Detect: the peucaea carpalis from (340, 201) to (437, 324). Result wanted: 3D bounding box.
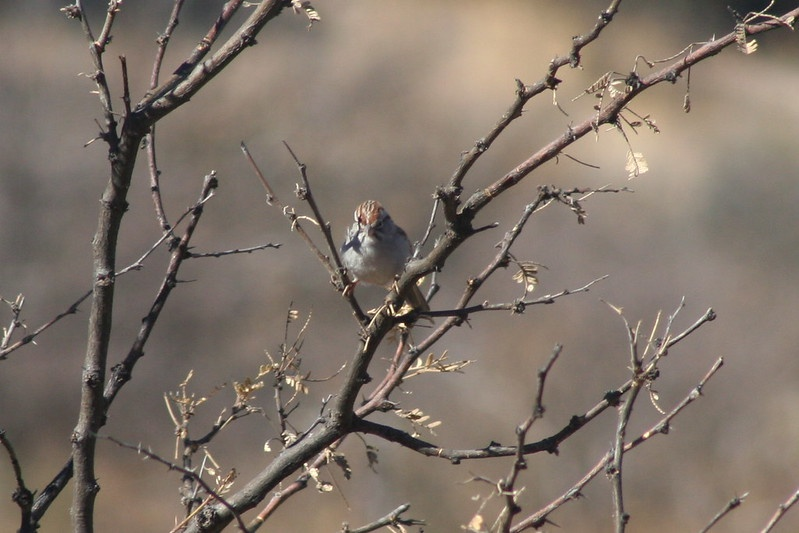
[{"bbox_3d":[-0.280,-0.121,9.023,0.600,0.965,0.969,-12,-95,13],"label":"peucaea carpalis"}]
